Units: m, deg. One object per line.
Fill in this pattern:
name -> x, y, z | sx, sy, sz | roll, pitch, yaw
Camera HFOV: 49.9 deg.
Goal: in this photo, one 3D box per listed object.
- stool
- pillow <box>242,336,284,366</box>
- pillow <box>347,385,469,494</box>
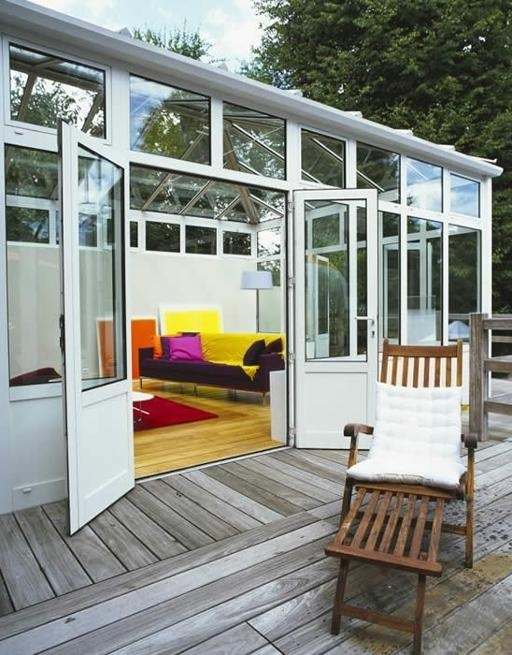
stool -> 0.538, 0.908, 2.208 | 0.396, 0.337, 0.572 | 0, -2, 24
pillow -> 0.075, 0.301, 6.491 | 0.480, 0.327, 0.366 | -1, 2, 0
pillow -> 0.761, 0.509, 2.670 | 0.617, 0.570, 0.480 | -2, -14, 28
